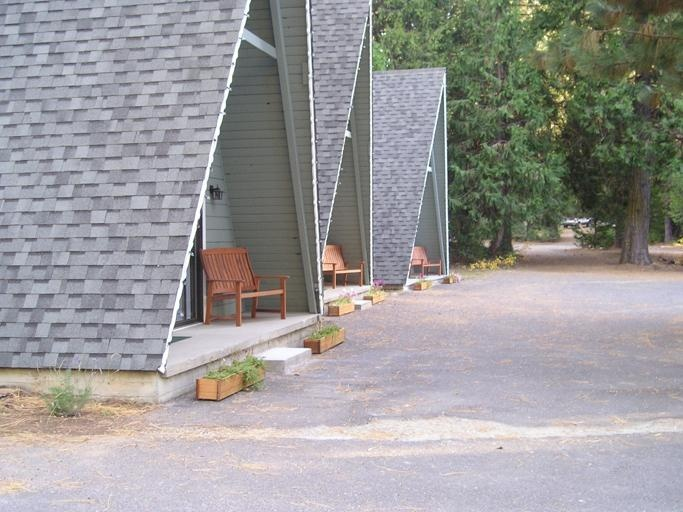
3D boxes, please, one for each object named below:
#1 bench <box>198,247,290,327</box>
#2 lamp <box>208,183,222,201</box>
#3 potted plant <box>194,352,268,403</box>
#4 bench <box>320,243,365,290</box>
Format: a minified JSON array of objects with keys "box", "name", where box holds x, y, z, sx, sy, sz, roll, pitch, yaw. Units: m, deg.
[{"box":[-1.390,0.427,10.533,0.839,0.931,1.310,7,5,21],"name":"bench"},{"box":[-1.883,-0.991,11.019,0.238,0.279,0.250,0,2,27],"name":"lamp"},{"box":[-1.209,1.318,7.727,0.299,0.297,0.760,4,7,32],"name":"potted plant"},{"box":[-0.094,0.203,16.641,0.685,0.868,1.545,8,4,23],"name":"bench"}]
